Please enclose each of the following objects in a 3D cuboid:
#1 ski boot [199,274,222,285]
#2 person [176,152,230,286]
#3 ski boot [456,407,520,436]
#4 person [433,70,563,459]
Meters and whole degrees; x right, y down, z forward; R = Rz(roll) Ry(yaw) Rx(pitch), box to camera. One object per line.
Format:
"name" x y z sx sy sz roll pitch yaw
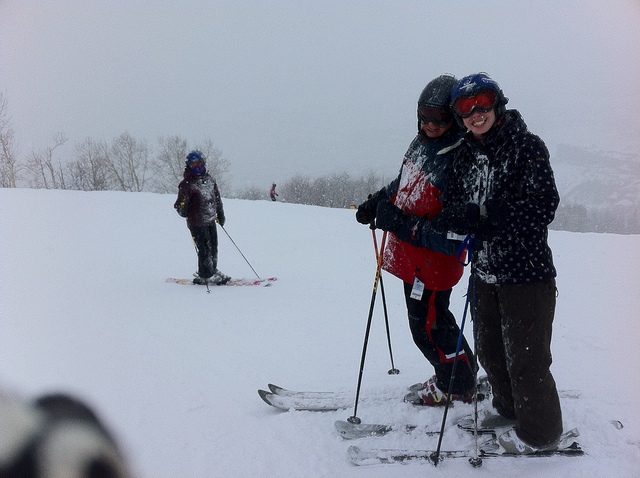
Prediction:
"ski boot" -1.703 0.636 11.325 0.211 0.115 0.178 -2 -1 -2
"person" -1.894 -0.365 11.452 0.736 2.020 0.813 -2 11 -10
"ski boot" 1.629 1.741 6.858 0.493 0.211 0.240 0 23 8
"person" 1.677 0.243 6.539 1.213 3.390 0.640 5 12 23
